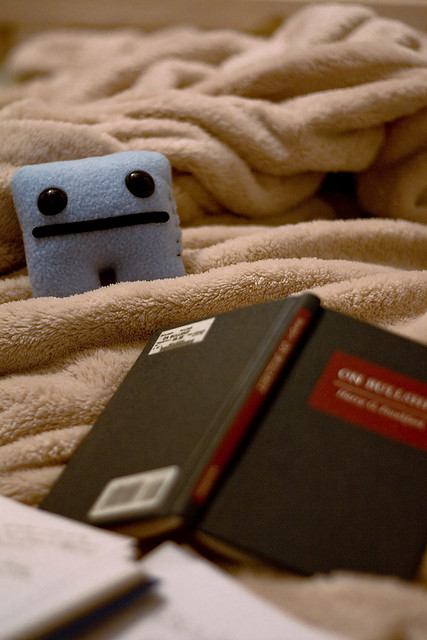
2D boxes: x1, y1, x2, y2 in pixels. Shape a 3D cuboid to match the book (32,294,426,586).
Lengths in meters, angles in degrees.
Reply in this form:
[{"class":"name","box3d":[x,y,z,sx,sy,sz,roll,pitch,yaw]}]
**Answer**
[{"class":"book","box3d":[0.031,0.096,0.413,0.242,0.058,0.249,11,55,30]}]
